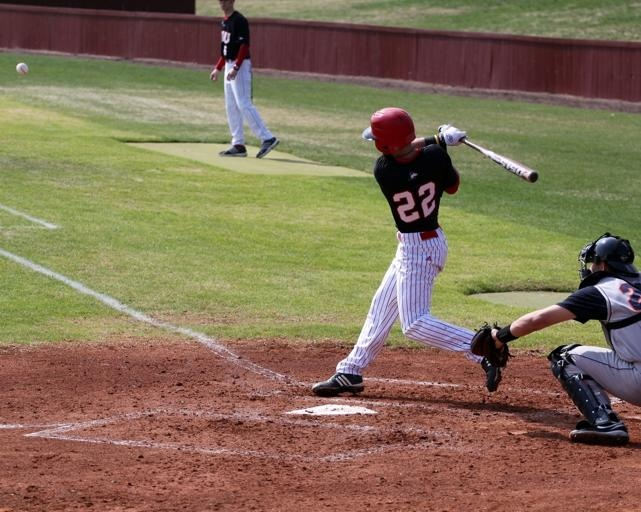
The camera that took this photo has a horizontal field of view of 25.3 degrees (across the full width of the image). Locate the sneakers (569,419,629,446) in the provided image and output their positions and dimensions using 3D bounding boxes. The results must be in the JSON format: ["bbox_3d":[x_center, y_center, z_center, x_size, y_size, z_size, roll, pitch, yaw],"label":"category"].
[{"bbox_3d":[2.554,1.632,13.146,0.609,0.250,0.192,1,-31,9],"label":"sneakers"}]

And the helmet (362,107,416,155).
[{"bbox_3d":[0.686,-1.203,13.747,0.427,0.430,0.280,2,7,5],"label":"helmet"}]

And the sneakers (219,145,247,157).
[{"bbox_3d":[-1.292,-1.573,21.288,0.452,0.155,0.155,0,15,-7],"label":"sneakers"}]

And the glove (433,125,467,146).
[{"bbox_3d":[1.262,-1.205,14.117,0.207,0.096,0.265,1,21,-32],"label":"glove"}]

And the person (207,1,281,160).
[{"bbox_3d":[-1.105,-2.577,20.950,0.981,2.296,1.433,1,7,-3],"label":"person"}]

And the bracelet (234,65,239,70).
[{"bbox_3d":[-1.188,-2.681,20.268,0.058,0.063,0.064,16,3,26],"label":"bracelet"}]

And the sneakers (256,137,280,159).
[{"bbox_3d":[-0.770,-1.617,21.330,0.249,0.158,0.500,16,-33,-23],"label":"sneakers"}]

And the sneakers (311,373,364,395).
[{"bbox_3d":[0.198,1.259,14.108,0.581,0.216,0.189,1,5,-10],"label":"sneakers"}]
